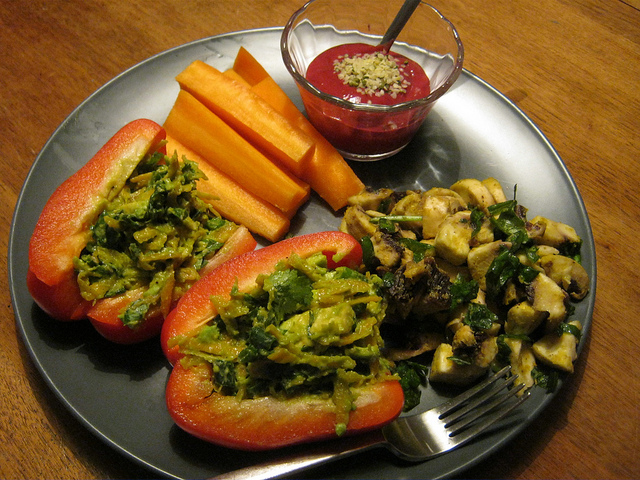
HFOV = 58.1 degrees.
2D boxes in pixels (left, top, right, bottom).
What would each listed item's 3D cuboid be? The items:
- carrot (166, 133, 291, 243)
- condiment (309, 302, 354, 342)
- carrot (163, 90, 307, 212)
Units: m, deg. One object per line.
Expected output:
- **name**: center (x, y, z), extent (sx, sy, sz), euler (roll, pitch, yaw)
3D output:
- **carrot**: center (-0.389, -0.217, 2.522), extent (0.542, 0.159, 0.131), euler (35, 46, 8)
- **condiment**: center (0.043, 0.299, 2.104), extent (0.142, 0.042, 0.126), euler (-21, 82, -13)
- **carrot**: center (-0.393, -0.384, 2.578), extent (0.584, 0.187, 0.176), euler (42, 52, 2)
